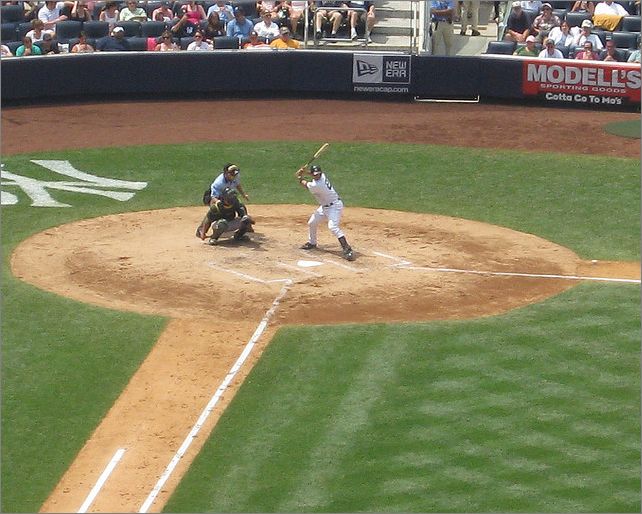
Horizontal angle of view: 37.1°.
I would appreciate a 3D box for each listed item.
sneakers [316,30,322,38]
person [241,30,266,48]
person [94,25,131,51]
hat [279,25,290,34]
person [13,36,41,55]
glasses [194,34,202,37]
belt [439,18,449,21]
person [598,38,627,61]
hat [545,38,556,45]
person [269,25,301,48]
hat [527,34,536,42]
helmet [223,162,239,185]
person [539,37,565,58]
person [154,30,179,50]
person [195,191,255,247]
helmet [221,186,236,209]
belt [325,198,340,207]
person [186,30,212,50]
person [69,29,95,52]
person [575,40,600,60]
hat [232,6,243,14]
[{"bbox_3d":[-0.055,-6.970,29.954,0.176,0.208,0.387,-1,-2,1],"label":"sneakers"},{"bbox_3d":[-2.114,-6.848,29.827,0.721,0.318,0.659,0,33,1],"label":"person"},{"bbox_3d":[-6.333,-6.699,29.251,1.055,0.728,0.826,-10,19,-31],"label":"person"},{"bbox_3d":[-1.131,-7.066,29.695,0.364,0.179,0.433,-2,9,-6],"label":"hat"},{"bbox_3d":[-8.779,-6.335,28.672,0.735,0.555,0.904,-4,15,-13],"label":"person"},{"bbox_3d":[-3.774,-6.857,29.565,0.168,0.087,0.145,0,6,-3],"label":"glasses"},{"bbox_3d":[3.873,-7.583,30.471,0.156,0.028,0.159,1,-3,45],"label":"belt"},{"bbox_3d":[8.449,-5.982,27.554,0.723,0.641,1.035,4,15,13],"label":"person"},{"bbox_3d":[6.671,-6.306,27.951,0.337,0.115,0.407,1,10,13],"label":"hat"},{"bbox_3d":[-1.155,-6.898,30.027,0.881,0.634,1.606,-1,13,-2],"label":"person"},{"bbox_3d":[6.219,-6.496,28.379,0.338,0.154,0.383,0,19,12],"label":"hat"},{"bbox_3d":[-1.822,-1.661,19.252,0.288,0.426,0.368,-3,18,-8],"label":"helmet"},{"bbox_3d":[6.746,-6.124,27.991,0.725,0.563,1.009,3,15,11],"label":"person"},{"bbox_3d":[-4.757,-6.657,29.422,0.782,0.607,1.550,-2,14,-7],"label":"person"},{"bbox_3d":[-1.941,-0.774,19.080,1.366,0.802,0.649,-3,9,-15],"label":"person"},{"bbox_3d":[-1.842,-1.181,18.979,0.284,0.343,0.349,-1,17,-4],"label":"helmet"},{"bbox_3d":[0.234,-1.071,18.468,0.203,0.049,0.129,-15,-3,-19],"label":"belt"},{"bbox_3d":[-3.754,-6.728,29.607,0.803,0.556,1.138,-2,14,-6],"label":"person"},{"bbox_3d":[-7.323,-6.601,29.284,0.742,0.630,1.901,-4,14,-13],"label":"person"},{"bbox_3d":[7.689,-5.980,27.626,0.640,0.535,0.884,4,15,12],"label":"person"},{"bbox_3d":[-2.605,-7.779,30.246,0.261,0.282,0.474,-1,15,-4],"label":"hat"}]
